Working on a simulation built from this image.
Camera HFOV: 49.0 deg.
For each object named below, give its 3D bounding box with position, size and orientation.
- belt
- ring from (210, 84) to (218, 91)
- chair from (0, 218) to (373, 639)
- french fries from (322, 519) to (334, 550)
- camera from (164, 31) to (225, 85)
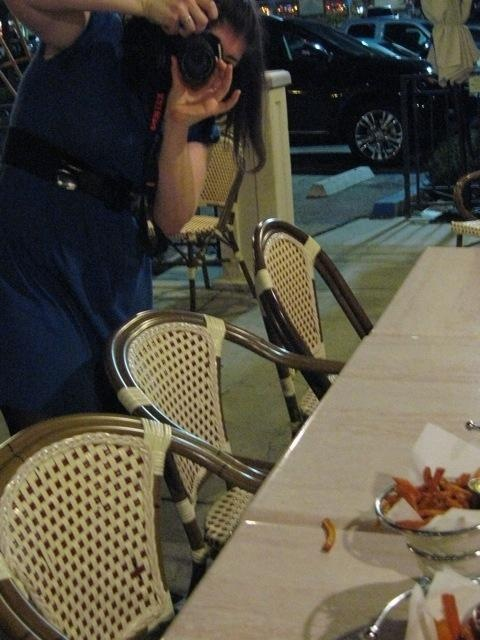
[{"bbox_3d":[-0.371,-0.322,1.168,0.222,0.059,0.159,29,2,-43],"label":"belt"},{"bbox_3d":[-0.060,-0.526,1.194,0.011,0.014,0.015,0,-8,-1],"label":"ring"},{"bbox_3d":[0.227,0.448,3.934,2.234,2.701,2.048,-2,12,-2],"label":"chair"},{"bbox_3d":[0.123,0.301,0.739,0.012,0.011,0.038,-15,19,7],"label":"french fries"},{"bbox_3d":[-0.098,-0.563,1.156,0.102,0.113,0.045,1,25,-7],"label":"camera"}]
